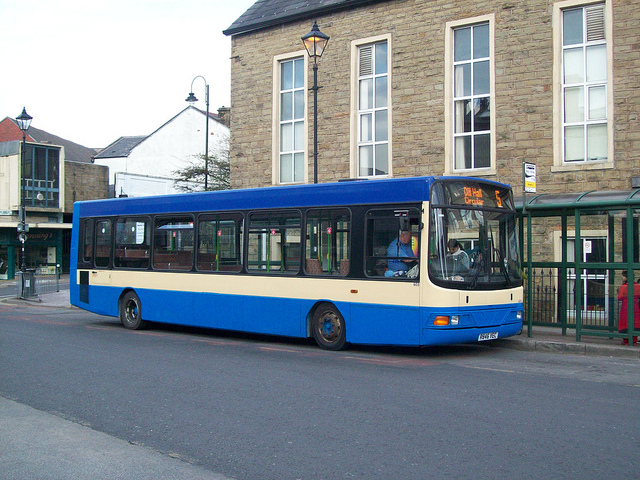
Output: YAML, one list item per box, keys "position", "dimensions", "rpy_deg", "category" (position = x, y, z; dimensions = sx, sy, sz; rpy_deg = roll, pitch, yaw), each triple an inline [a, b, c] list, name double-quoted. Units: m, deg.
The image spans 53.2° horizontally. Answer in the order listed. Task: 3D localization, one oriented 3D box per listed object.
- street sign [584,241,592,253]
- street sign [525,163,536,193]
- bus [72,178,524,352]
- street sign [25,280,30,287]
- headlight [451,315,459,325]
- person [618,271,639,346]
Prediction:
- position: [6.192, 0.142, 14.765]
  dimensions: [0.026, 0.272, 0.256]
  rpy_deg: [-2, 2, -20]
  category: "street sign"
- position: [4.695, -1.389, 14.284]
  dimensions: [0.074, 0.830, 0.715]
  rpy_deg: [-1, -4, 38]
  category: "street sign"
- position: [-1.527, 0.503, 15.879]
  dimensions: [10.743, 3.525, 3.163]
  rpy_deg: [-1, -1, 30]
  category: "bus"
- position: [-13.697, 1.996, 29.890]
  dimensions: [0.325, 0.370, 0.037]
  rpy_deg: [1, 4, 44]
  category: "street sign"
- position: [2.483, 1.469, 11.775]
  dimensions: [0.141, 0.149, 0.039]
  rpy_deg: [1, -10, 30]
  category: "headlight"
- position: [6.385, 1.390, 13.177]
  dimensions: [0.386, 1.493, 0.398]
  rpy_deg: [0, 2, 16]
  category: "person"
